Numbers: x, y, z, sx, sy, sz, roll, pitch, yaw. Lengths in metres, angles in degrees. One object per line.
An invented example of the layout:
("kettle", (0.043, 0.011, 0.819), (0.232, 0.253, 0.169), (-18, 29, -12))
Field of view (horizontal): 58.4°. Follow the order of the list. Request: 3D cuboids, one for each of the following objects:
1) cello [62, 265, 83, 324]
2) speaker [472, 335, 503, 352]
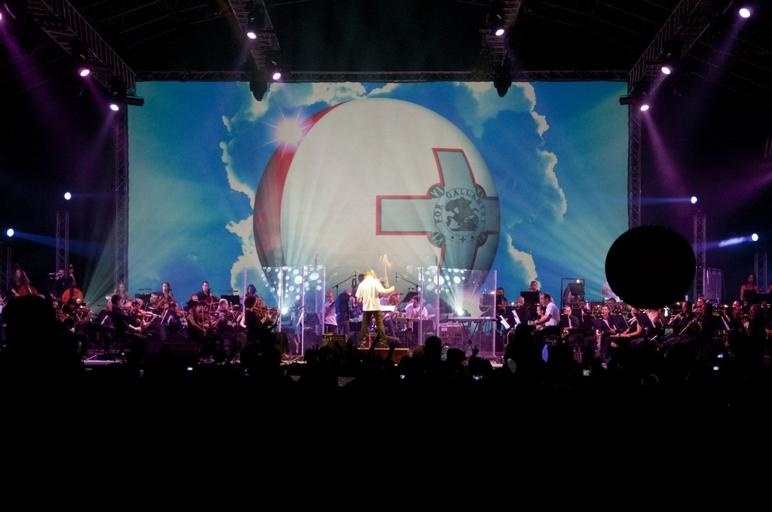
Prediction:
("cello", (-8.563, 1.000, 18.737), (0.409, 1.319, 0.248), (5, -58, -20))
("speaker", (2.504, 2.172, 17.161), (0.717, 0.531, 0.397), (4, -21, -12))
